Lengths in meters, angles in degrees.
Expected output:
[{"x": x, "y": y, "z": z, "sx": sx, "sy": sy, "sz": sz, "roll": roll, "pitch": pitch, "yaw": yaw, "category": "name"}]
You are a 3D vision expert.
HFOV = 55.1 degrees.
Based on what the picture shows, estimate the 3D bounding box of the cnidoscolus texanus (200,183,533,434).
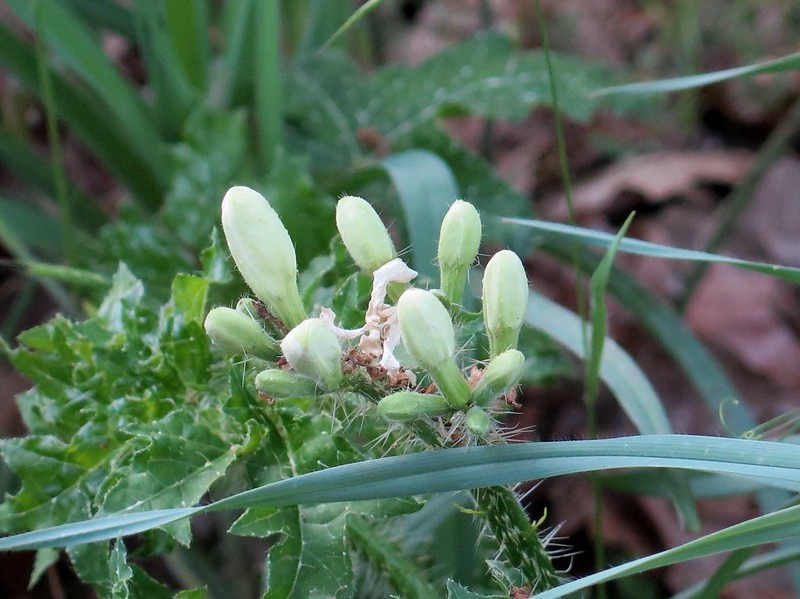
[{"x": -0.031, "y": 0.011, "z": 1.022, "sx": 0.394, "sy": 0.366, "sz": 0.278, "roll": -2, "pitch": 22, "yaw": 15, "category": "cnidoscolus texanus"}]
